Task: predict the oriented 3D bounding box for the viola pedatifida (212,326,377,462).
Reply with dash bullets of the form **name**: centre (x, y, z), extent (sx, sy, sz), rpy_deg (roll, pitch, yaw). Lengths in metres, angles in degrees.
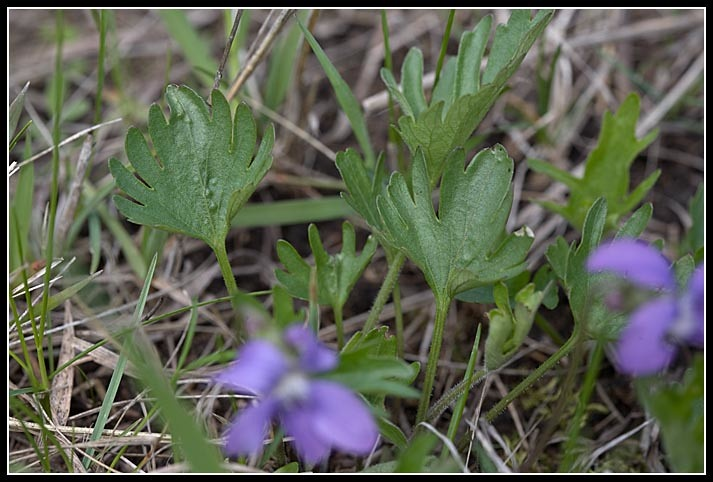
- **viola pedatifida**: centre (-0.155, 0.397, 1.677), extent (0.379, 0.423, 0.158), rpy_deg (-3, 10, -4)
